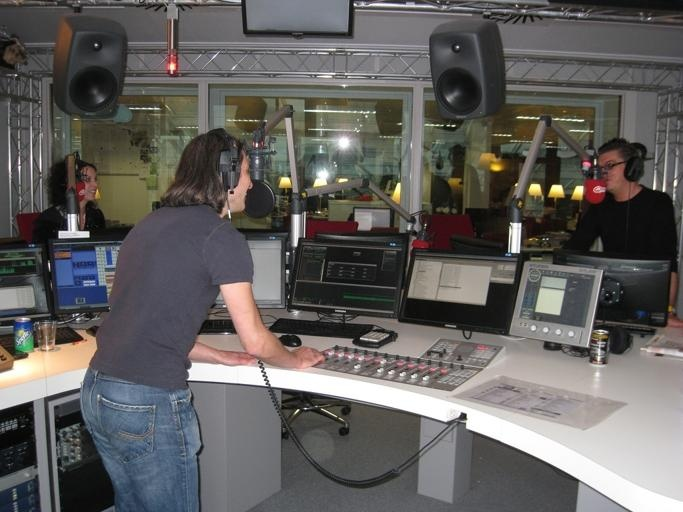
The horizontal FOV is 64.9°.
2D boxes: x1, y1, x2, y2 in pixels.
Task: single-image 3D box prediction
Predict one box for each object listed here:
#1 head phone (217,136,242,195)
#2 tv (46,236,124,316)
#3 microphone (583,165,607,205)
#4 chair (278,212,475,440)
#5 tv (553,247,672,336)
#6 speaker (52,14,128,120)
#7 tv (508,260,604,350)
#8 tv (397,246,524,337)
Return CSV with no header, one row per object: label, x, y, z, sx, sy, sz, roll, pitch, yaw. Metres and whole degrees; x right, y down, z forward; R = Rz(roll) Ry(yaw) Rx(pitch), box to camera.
head phone,-0.412,-0.316,1.975,0.078,0.150,0.196,3,1,-17
tv,-1.251,0.101,2.579,0.408,0.363,0.039,-11,8,-22
microphone,1.359,-0.370,2.871,0.102,0.192,0.234,6,12,23
chair,0.073,0.305,2.981,1.057,1.224,0.827,4,7,25
tv,1.270,0.178,2.513,0.462,0.290,0.142,5,27,22
speaker,-1.405,-1.045,2.993,0.379,0.545,0.203,-4,14,-24
tv,0.947,0.217,2.370,0.413,0.351,0.169,10,8,31
tv,0.579,0.172,2.562,0.467,0.294,0.084,10,-13,28
